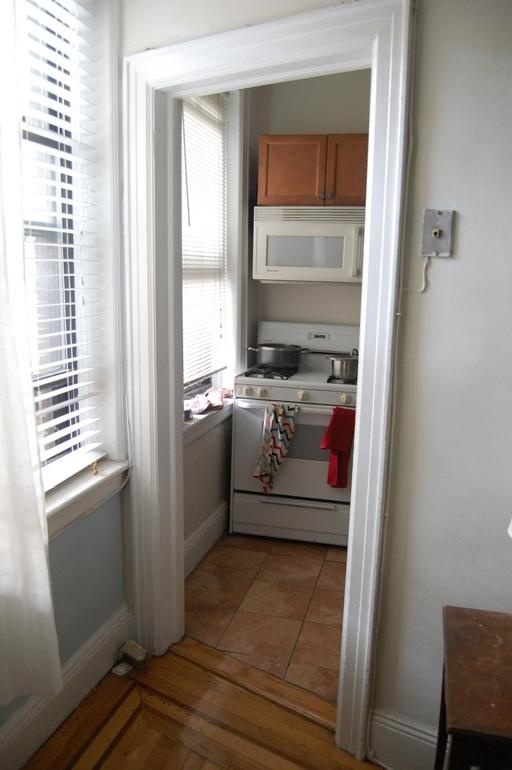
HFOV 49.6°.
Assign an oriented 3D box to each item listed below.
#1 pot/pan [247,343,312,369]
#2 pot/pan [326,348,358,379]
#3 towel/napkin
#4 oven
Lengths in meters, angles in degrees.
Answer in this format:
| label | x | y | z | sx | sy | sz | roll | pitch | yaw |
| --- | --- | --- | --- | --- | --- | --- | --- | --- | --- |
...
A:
| label | x | y | z | sx | sy | sz | roll | pitch | yaw |
| --- | --- | --- | --- | --- | --- | --- | --- | --- | --- |
| pot/pan | 0.085 | -0.155 | 3.068 | 0.187 | 0.135 | 0.300 | -4 | 11 | -37 |
| pot/pan | 0.464 | -0.081 | 2.906 | 0.134 | 0.157 | 0.188 | -12 | 17 | -36 |
| towel/napkin | 0.244 | 0.302 | 2.714 | 0.355 | 0.433 | 0.096 | 3 | 11 | 9 |
| oven | 0.243 | 0.305 | 2.979 | 0.656 | 0.893 | 0.584 | 4 | 32 | 11 |
